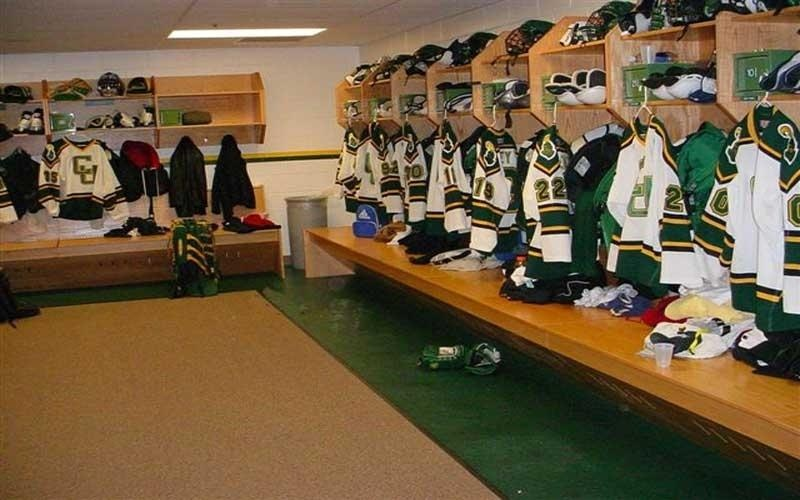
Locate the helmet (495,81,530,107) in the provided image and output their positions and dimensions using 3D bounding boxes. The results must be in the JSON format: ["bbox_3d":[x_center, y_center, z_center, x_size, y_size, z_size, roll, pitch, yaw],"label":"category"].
[{"bbox_3d":[0.974,-1.359,5.054,0.228,0.178,0.285,12,4,-7],"label":"helmet"}]

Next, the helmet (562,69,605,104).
[{"bbox_3d":[1.406,-1.202,4.250,0.305,0.253,0.183,7,18,33],"label":"helmet"}]

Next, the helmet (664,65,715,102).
[{"bbox_3d":[1.879,-1.055,3.684,0.289,0.126,0.259,-12,16,-37],"label":"helmet"}]

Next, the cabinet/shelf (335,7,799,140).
[{"bbox_3d":[1.039,-1.506,5.161,0.880,1.060,4.550,-14,18,-35],"label":"cabinet/shelf"}]

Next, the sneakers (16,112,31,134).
[{"bbox_3d":[-4.921,-1.642,7.447,0.116,0.309,0.146,19,-13,-31],"label":"sneakers"}]

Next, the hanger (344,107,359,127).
[{"bbox_3d":[-0.667,-1.815,7.867,0.239,0.230,0.266,3,-28,-1],"label":"hanger"}]

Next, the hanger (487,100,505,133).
[{"bbox_3d":[0.898,-1.220,5.278,0.250,0.284,0.076,-4,10,-1],"label":"hanger"}]

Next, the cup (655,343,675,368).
[{"bbox_3d":[1.497,0.594,3.255,0.136,0.122,0.134,0,6,0],"label":"cup"}]

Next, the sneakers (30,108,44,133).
[{"bbox_3d":[-4.720,-1.654,7.462,0.135,0.344,0.160,-6,-7,-26],"label":"sneakers"}]

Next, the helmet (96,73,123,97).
[{"bbox_3d":[-3.870,-2.189,7.603,0.320,0.303,0.398,-2,3,-15],"label":"helmet"}]
